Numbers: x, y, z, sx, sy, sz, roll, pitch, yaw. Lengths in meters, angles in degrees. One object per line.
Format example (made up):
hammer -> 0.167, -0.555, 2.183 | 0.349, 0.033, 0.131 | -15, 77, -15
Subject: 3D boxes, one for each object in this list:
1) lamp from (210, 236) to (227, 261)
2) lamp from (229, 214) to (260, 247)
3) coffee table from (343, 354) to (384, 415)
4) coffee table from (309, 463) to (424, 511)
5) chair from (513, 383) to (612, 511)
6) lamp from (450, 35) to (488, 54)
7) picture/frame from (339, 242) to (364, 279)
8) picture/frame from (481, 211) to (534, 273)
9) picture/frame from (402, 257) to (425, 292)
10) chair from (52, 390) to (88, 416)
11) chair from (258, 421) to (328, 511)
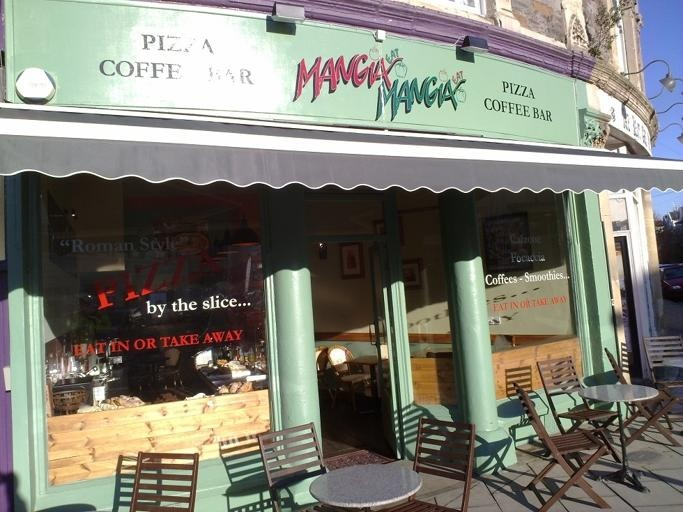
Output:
lamp -> -1.674, -0.108, 7.877 | 0.237, 0.426, 0.235 | 4, -7, -23
lamp -> -1.329, -0.330, 7.977 | 0.365, 0.378, 0.358 | -2, 8, -9
coffee table -> 0.422, 2.785, 12.670 | 0.778, 0.932, 1.543 | -8, -3, -1
coffee table -> 0.266, 2.542, 6.183 | 1.174, 0.334, 0.922 | -8, -3, 0
chair -> 3.037, 2.595, 8.142 | 1.461, 1.916, 1.224 | -4, -4, 5
lamp -> 2.052, -3.379, 9.258 | 0.506, 0.260, 0.237 | -5, 5, -35
picture/frame -> 0.252, 0.087, 13.317 | 0.819, 1.120, 0.115 | 3, 8, 45
picture/frame -> 2.892, -0.213, 10.177 | 1.106, 0.966, 0.169 | -6, -4, -33
picture/frame -> 1.175, 0.332, 9.641 | 0.561, 0.630, 0.065 | 2, -8, -22
chair -> -3.418, 1.866, 7.310 | 0.308, 0.228, 0.299 | -2, -4, 9
chair -> -0.602, 2.718, 7.320 | 0.707, 0.824, 1.125 | -7, -3, -7
